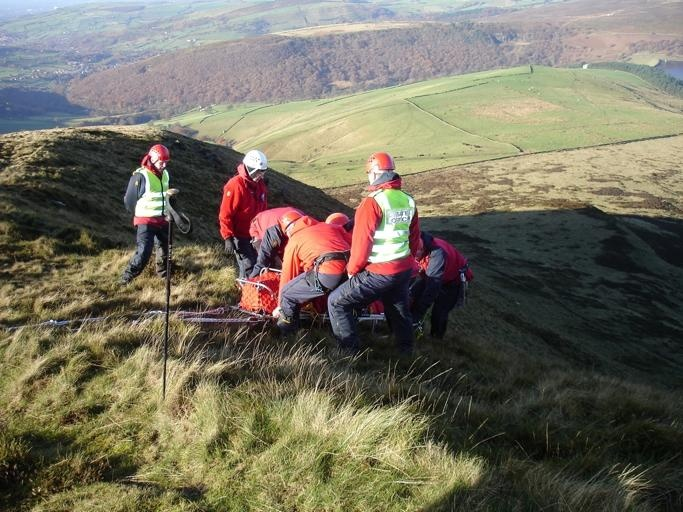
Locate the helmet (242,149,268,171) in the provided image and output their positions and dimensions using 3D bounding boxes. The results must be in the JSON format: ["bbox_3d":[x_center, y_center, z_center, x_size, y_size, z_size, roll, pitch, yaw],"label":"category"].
[{"bbox_3d":[-1.551,-1.725,9.638,0.384,0.378,0.472,35,3,-6],"label":"helmet"}]

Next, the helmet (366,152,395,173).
[{"bbox_3d":[0.555,-1.334,7.564,0.289,0.257,0.364,-5,8,-31],"label":"helmet"}]

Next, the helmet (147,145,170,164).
[{"bbox_3d":[-3.275,-1.865,9.658,0.467,0.355,0.350,9,15,40],"label":"helmet"}]

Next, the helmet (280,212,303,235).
[{"bbox_3d":[-0.821,-0.536,8.683,0.278,0.308,0.382,-52,9,-26],"label":"helmet"}]
